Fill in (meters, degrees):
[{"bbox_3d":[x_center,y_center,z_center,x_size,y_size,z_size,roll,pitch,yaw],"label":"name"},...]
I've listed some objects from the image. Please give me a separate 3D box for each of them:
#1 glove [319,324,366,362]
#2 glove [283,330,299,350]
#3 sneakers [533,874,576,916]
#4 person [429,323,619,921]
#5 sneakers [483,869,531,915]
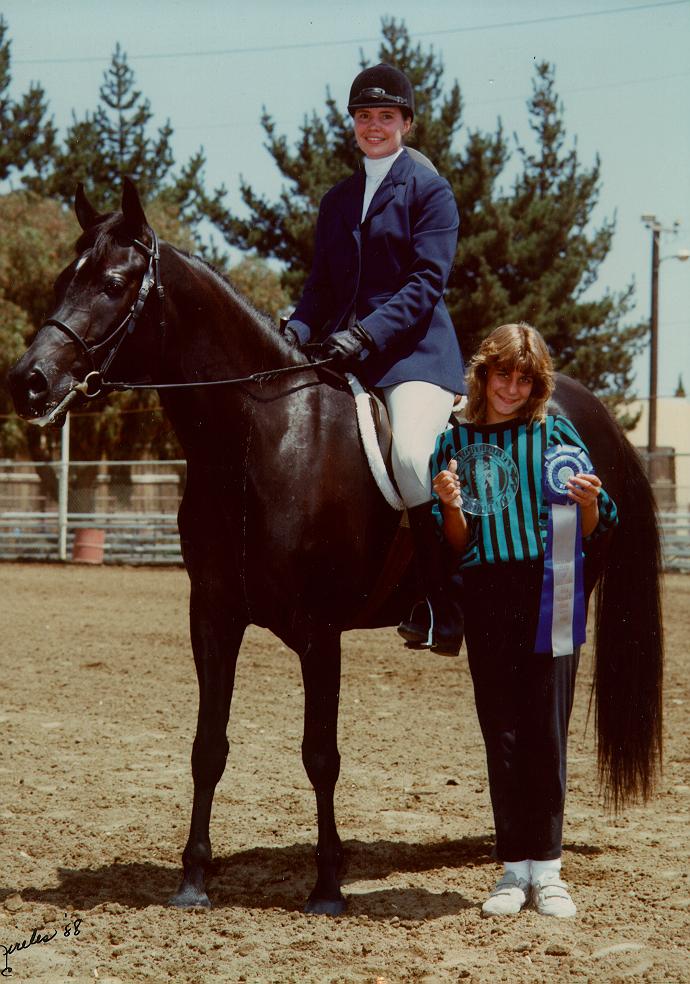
[{"bbox_3d":[-0.002,-0.477,4.740,0.104,0.059,0.133,-7,21,9],"label":"glove"},{"bbox_3d":[-0.186,-0.525,5.028,0.021,0.081,0.077,-20,39,-8],"label":"glove"},{"bbox_3d":[0.614,1.183,4.353,0.154,0.106,0.135,0,-1,21],"label":"sneakers"},{"bbox_3d":[0.516,0.361,4.359,0.553,1.758,0.283,0,-1,11],"label":"person"},{"bbox_3d":[0.479,1.184,4.372,0.129,0.118,0.167,0,-1,11],"label":"sneakers"}]
